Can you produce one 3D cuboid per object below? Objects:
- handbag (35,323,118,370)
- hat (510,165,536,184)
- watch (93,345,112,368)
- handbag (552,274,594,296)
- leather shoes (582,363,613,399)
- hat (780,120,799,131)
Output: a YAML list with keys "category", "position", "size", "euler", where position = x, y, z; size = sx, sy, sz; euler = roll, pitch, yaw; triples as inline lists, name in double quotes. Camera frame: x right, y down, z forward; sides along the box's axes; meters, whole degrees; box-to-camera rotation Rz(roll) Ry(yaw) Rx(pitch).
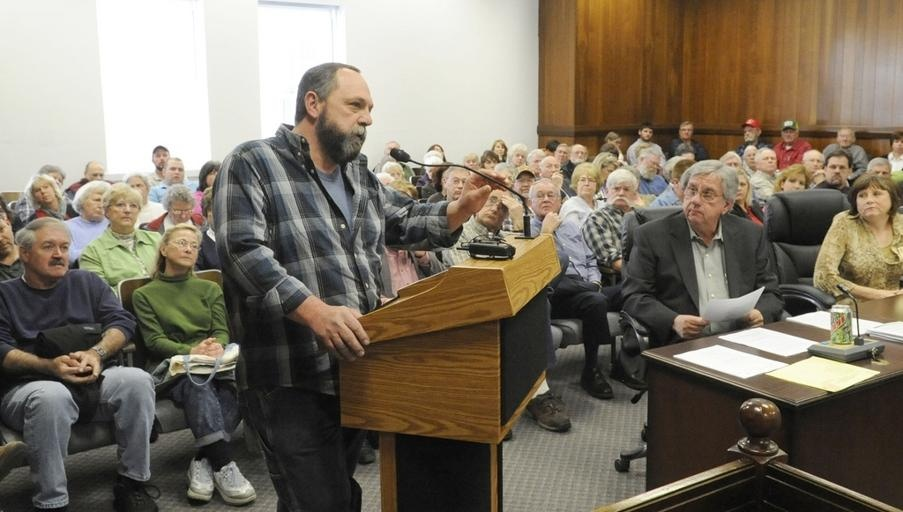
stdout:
- category: "handbag"
  position: [-2.471, 0.529, 4.222]
  size: [0.492, 0.127, 0.478]
  euler: [-16, 21, -40]
- category: "hat"
  position: [0.734, -0.788, 6.645]
  size: [0.186, 0.145, 0.291]
  euler: [5, -15, -2]
- category: "watch"
  position: [-2.231, 0.631, 4.157]
  size: [0.068, 0.102, 0.103]
  euler: [38, 27, 8]
- category: "handbag"
  position: [0.997, 0.249, 5.411]
  size: [0.247, 0.074, 0.241]
  euler: [3, 8, 14]
- category: "leather shoes"
  position: [1.180, 0.995, 5.369]
  size: [0.158, 0.239, 0.392]
  euler: [-3, 8, -14]
- category: "hat"
  position: [6.100, -2.387, 11.821]
  size: [0.343, 0.179, 0.522]
  euler: [0, 1, 26]
